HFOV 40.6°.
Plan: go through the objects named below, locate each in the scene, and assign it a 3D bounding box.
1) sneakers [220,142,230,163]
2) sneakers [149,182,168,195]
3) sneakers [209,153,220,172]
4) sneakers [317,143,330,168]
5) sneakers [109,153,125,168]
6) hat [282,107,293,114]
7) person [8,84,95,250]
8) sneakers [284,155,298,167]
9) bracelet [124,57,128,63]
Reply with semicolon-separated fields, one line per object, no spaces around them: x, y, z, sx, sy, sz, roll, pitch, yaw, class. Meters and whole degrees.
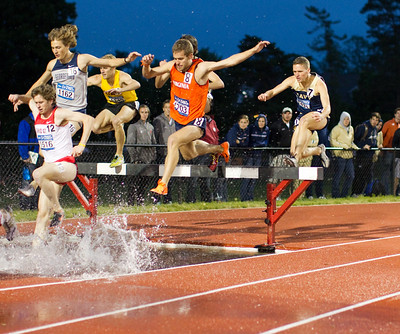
0.425;-0.201;8.839;0.142;0.383;0.131;-14;20;-1;sneakers
-0.552;0.311;7.450;0.111;0.149;0.324;13;-7;24;sneakers
0.220;-0.063;8.417;0.099;0.127;0.322;-21;28;32;sneakers
2.537;-0.224;11.168;0.210;0.597;0.198;-18;11;-5;sneakers
-1.314;-0.083;8.655;0.108;0.154;0.319;2;9;13;sneakers
2.211;-1.450;13.829;0.224;0.139;0.385;2;-2;7;hat
-1.885;-0.106;7.408;0.807;2.019;0.996;-2;13;-18;person
1.364;-0.070;8.101;0.186;0.163;0.303;5;15;10;sneakers
-1.041;-1.506;7.585;0.011;0.055;0.051;-10;-9;22;bracelet
